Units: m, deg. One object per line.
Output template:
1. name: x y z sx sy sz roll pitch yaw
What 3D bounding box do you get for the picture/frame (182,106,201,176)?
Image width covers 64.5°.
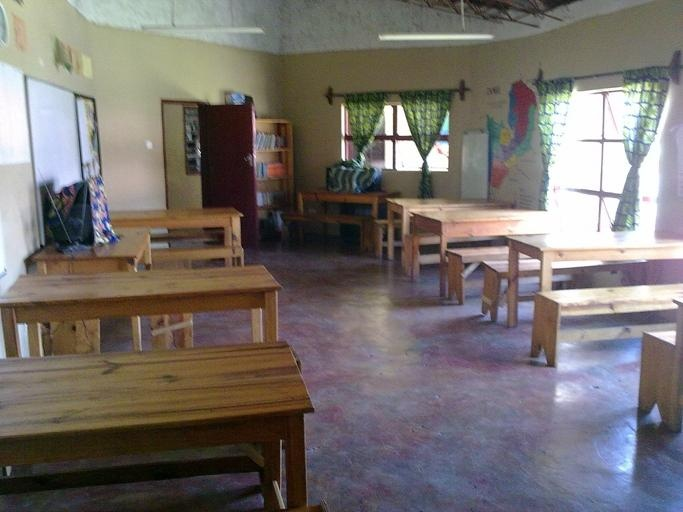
1. picture/frame: -2.910 -2.199 10.454 0.332 1.277 0.298 -3 15 -9
